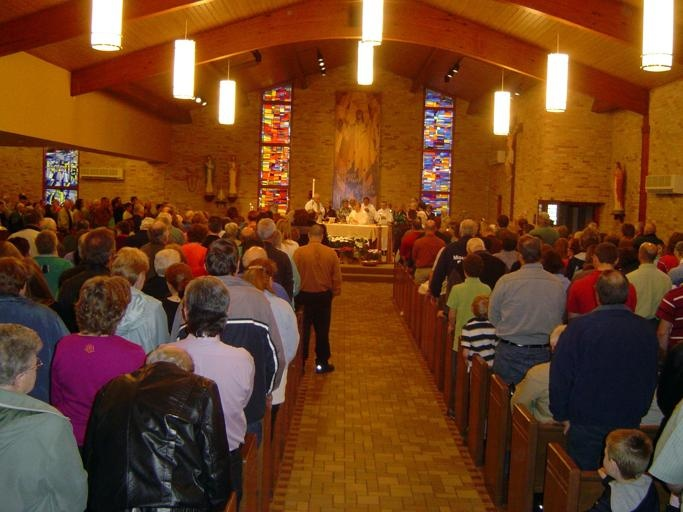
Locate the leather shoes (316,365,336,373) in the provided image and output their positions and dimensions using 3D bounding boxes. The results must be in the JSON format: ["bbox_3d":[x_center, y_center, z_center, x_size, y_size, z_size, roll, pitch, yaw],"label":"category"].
[{"bbox_3d":[-0.192,1.341,7.014,0.233,0.086,0.101,-6,-39,-7],"label":"leather shoes"}]

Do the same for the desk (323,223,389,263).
[{"bbox_3d":[0.070,-0.294,15.242,1.986,0.986,1.408,-2,-4,-37],"label":"desk"}]

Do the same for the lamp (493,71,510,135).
[{"bbox_3d":[2.656,-2.375,9.544,0.250,0.723,0.531,2,7,12],"label":"lamp"}]

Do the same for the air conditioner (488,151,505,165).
[{"bbox_3d":[4.801,-3.174,17.898,0.343,0.627,0.636,2,0,-2],"label":"air conditioner"}]

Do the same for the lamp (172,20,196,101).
[{"bbox_3d":[-1.693,-2.032,6.204,0.223,0.643,0.350,-2,7,-18],"label":"lamp"}]

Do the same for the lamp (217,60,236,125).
[{"bbox_3d":[-1.686,-2.281,8.543,0.219,0.661,0.702,0,7,-8],"label":"lamp"}]

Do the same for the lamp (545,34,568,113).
[{"bbox_3d":[2.496,-2.021,6.683,0.218,0.680,0.351,3,7,18],"label":"lamp"}]

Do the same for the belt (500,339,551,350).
[{"bbox_3d":[1.454,0.683,4.501,0.189,0.046,0.180,1,2,10],"label":"belt"}]
